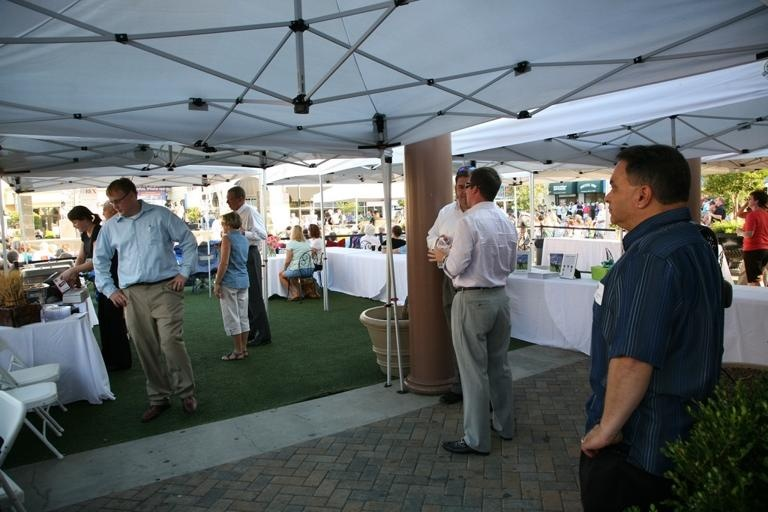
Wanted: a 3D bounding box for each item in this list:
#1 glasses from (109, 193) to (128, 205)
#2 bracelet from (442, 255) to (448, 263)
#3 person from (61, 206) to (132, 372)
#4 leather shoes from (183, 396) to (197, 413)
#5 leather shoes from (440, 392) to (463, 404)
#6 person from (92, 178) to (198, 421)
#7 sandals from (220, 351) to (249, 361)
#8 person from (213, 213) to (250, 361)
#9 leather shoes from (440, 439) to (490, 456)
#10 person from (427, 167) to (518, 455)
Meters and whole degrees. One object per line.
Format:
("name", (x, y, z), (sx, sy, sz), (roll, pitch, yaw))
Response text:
("glasses", (-2.792, -0.637, 4.914), (0.138, 0.043, 0.138), (-6, 29, 21))
("bracelet", (0.538, 0.025, 4.155), (0.045, 0.011, 0.045), (-37, 17, 24))
("person", (-3.873, 0.365, 6.273), (0.882, 2.012, 0.668), (-12, 27, -40))
("leather shoes", (-2.145, 1.632, 5.143), (0.110, 0.091, 0.193), (-1, 19, -28))
("leather shoes", (0.720, 1.527, 5.018), (0.214, 0.085, 0.108), (2, 2, -11))
("person", (-2.545, 0.429, 5.089), (1.077, 2.544, 0.552), (-4, 8, -10))
("sandals", (-2.149, 1.451, 6.704), (0.275, 0.083, 0.157), (4, -2, -5))
("person", (-2.149, 0.427, 6.651), (0.333, 2.101, 0.681), (1, 9, 25))
("leather shoes", (0.716, 1.675, 4.128), (0.386, 0.151, 0.142), (7, -4, 14))
("person", (0.829, 0.481, 4.138), (0.483, 2.488, 0.665), (4, 10, 37))
